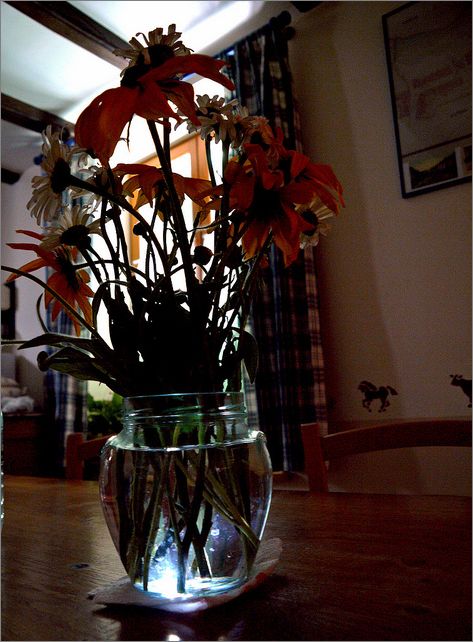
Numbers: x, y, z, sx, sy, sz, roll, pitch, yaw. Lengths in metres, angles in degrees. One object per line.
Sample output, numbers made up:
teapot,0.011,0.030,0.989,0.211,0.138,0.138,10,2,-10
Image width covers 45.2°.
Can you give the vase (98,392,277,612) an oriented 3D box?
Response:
vase,-0.041,0.143,0.478,0.142,0.144,0.135,-9,-13,18
